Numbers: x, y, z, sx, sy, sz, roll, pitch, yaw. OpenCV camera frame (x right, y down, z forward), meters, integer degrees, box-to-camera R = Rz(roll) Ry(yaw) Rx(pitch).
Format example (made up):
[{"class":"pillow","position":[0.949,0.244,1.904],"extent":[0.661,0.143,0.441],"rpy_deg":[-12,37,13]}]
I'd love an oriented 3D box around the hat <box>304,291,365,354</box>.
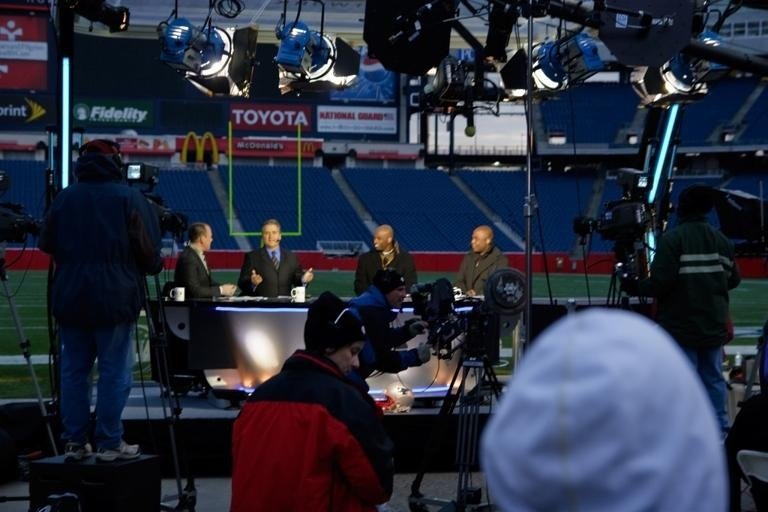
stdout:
[{"class":"hat","position":[-0.475,0.581,9.724],"extent":[0.420,0.521,0.575],"rpy_deg":[-17,-22,37]}]

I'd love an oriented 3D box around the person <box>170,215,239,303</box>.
[{"class":"person","position":[-2.118,0.045,13.034],"extent":[0.625,0.845,0.710],"rpy_deg":[-3,7,-17]}]

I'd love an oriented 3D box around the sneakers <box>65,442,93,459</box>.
[{"class":"sneakers","position":[-2.860,1.837,10.637],"extent":[0.284,0.125,0.107],"rpy_deg":[0,9,-38]}]

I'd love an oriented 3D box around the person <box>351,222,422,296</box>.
[{"class":"person","position":[0.014,0.229,13.523],"extent":[0.749,1.134,0.688],"rpy_deg":[-1,9,5]}]

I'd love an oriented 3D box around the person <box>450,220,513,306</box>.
[{"class":"person","position":[1.120,0.055,13.402],"extent":[0.600,0.798,0.459],"rpy_deg":[0,7,5]}]

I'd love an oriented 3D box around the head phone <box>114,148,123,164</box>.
[{"class":"head phone","position":[-2.565,-0.959,10.939],"extent":[0.052,0.116,0.086],"rpy_deg":[-1,-2,-11]}]

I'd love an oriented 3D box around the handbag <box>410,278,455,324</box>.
[{"class":"handbag","position":[0.476,0.456,11.110],"extent":[0.472,0.430,0.343],"rpy_deg":[-5,-13,-5]}]

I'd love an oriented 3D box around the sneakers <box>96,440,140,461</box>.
[{"class":"sneakers","position":[-2.488,1.857,10.666],"extent":[0.444,0.196,0.155],"rpy_deg":[-3,2,-33]}]

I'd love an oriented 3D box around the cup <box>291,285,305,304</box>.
[{"class":"cup","position":[-0.980,0.429,12.493],"extent":[0.204,0.197,0.118],"rpy_deg":[2,1,-6]}]

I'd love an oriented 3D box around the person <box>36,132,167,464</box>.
[{"class":"person","position":[-2.663,0.423,10.683],"extent":[1.071,2.927,0.713],"rpy_deg":[-3,8,-17]}]

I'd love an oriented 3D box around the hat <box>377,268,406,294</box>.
[{"class":"hat","position":[0.057,0.252,11.041],"extent":[0.269,0.215,0.202],"rpy_deg":[2,0,-4]}]

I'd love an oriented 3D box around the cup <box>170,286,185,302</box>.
[{"class":"cup","position":[-2.347,0.433,12.732],"extent":[0.195,0.166,0.114],"rpy_deg":[1,1,-15]}]

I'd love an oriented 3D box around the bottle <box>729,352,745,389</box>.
[{"class":"bottle","position":[3.802,1.243,12.199],"extent":[0.205,0.227,0.407],"rpy_deg":[2,8,13]}]
